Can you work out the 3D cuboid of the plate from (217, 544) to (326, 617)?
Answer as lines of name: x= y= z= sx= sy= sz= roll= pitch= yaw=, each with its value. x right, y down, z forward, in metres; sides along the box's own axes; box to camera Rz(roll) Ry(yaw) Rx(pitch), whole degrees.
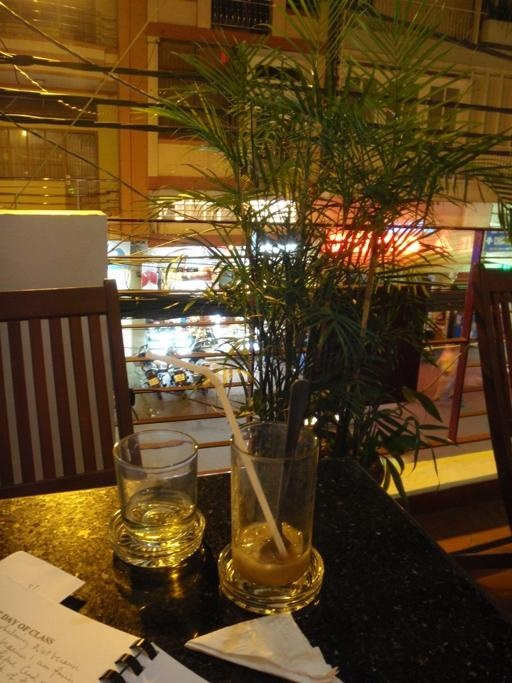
plate: x=0.014 y=0.227 z=0.528 sx=0.106 sy=0.021 sz=0.095 roll=3 pitch=12 yaw=3

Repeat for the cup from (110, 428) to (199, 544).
cup: x=-0.082 y=0.151 z=0.603 sx=0.104 sy=0.108 sz=0.106 roll=1 pitch=23 yaw=0

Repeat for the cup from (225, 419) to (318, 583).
cup: x=0.003 y=0.172 z=0.549 sx=0.113 sy=0.163 sz=0.106 roll=5 pitch=-7 yaw=1

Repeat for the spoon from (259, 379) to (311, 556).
spoon: x=0.024 y=0.121 z=0.513 sx=0.038 sy=0.169 sz=0.024 roll=12 pitch=22 yaw=16
